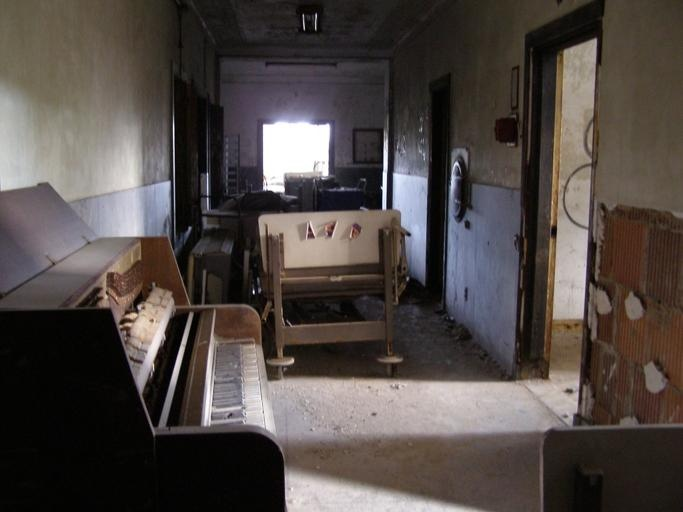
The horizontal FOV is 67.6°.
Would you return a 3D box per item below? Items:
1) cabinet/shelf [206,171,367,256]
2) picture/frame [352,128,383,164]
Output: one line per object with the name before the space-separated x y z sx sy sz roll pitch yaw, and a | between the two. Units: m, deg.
cabinet/shelf | -0.697 -1.047 9.667 2.248 1.264 1.910 -2 4 -2
picture/frame | 0.793 -3.276 15.001 0.925 1.282 0.128 0 12 1
